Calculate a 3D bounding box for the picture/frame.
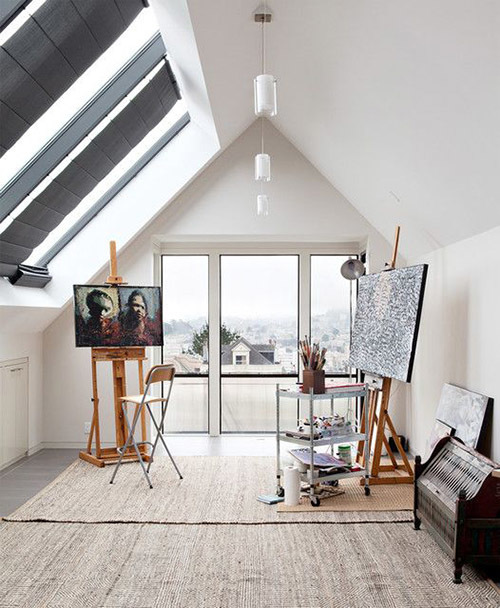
[{"bbox_3d":[-1.274,0.128,4.534,0.565,0.450,0.025,1,-6,-21],"label":"picture/frame"}]
